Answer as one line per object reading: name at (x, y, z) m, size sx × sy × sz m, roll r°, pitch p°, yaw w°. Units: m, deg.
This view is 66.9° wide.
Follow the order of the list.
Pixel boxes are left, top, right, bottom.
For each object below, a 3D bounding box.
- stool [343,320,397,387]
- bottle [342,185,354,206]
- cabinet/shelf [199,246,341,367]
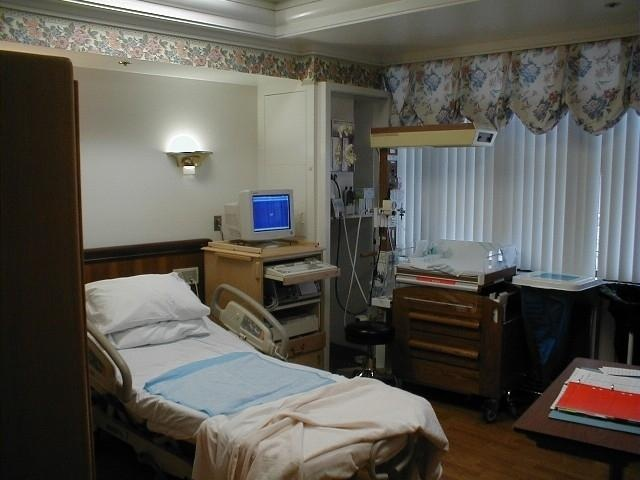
stool at (0.361, 0.895, 3.803) m, size 0.433 × 0.514 × 0.437 m, roll -4°, pitch 5°, yaw -38°
bottle at (0.257, -0.397, 4.358) m, size 0.029 × 0.173 × 0.146 m, roll -1°, pitch 8°, yaw 38°
cabinet/shelf at (-0.344, 0.469, 3.888) m, size 1.007 × 1.334 × 0.829 m, roll 5°, pitch 9°, yaw 44°
